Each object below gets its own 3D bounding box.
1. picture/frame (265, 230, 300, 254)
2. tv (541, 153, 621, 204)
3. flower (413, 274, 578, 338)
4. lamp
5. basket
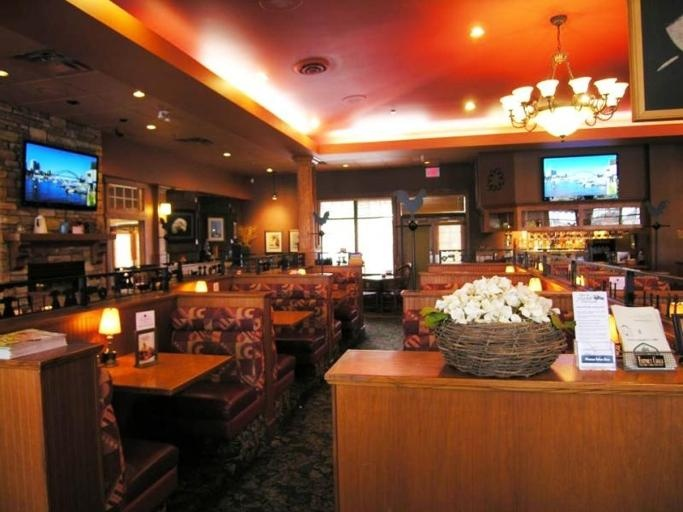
[{"bbox_3d":[-1.441,-0.383,13.214,0.724,0.397,0.031,2,7,20],"label":"picture/frame"},{"bbox_3d":[4.565,-1.486,9.996,1.711,0.898,0.047,-4,3,-15],"label":"tv"},{"bbox_3d":[0.831,0.310,2.863,0.678,0.259,0.552,-6,5,-1],"label":"flower"},{"bbox_3d":[2.565,-1.894,6.057,1.212,1.000,1.149,4,-8,4],"label":"lamp"},{"bbox_3d":[0.857,0.532,2.966,0.730,0.256,0.684,-10,-19,26],"label":"basket"}]
